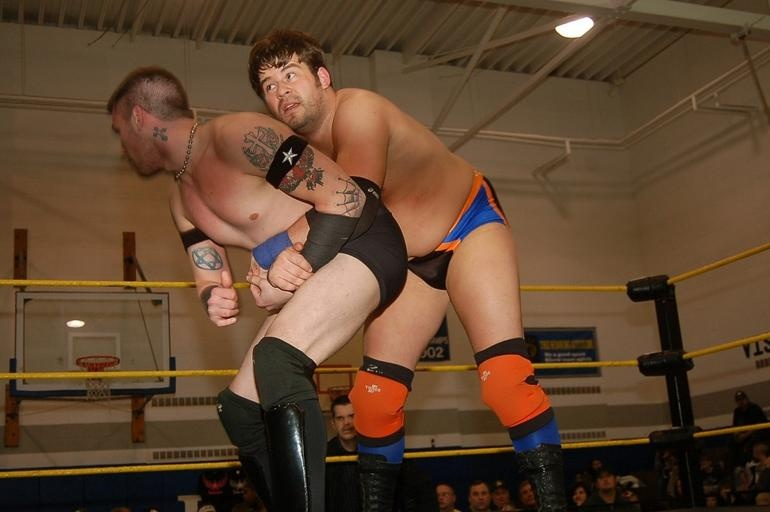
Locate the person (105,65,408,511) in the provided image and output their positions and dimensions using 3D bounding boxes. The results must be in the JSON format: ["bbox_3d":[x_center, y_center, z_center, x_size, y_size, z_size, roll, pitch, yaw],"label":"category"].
[{"bbox_3d":[-0.580,0.095,3.233,1.348,2.238,0.503,-6,-14,10],"label":"person"}]

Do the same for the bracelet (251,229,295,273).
[{"bbox_3d":[-0.548,-0.018,3.235,0.203,0.157,0.087,-43,-15,10],"label":"bracelet"}]

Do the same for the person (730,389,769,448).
[{"bbox_3d":[4.307,1.913,7.797,0.390,0.626,0.861,-11,-15,25],"label":"person"}]
